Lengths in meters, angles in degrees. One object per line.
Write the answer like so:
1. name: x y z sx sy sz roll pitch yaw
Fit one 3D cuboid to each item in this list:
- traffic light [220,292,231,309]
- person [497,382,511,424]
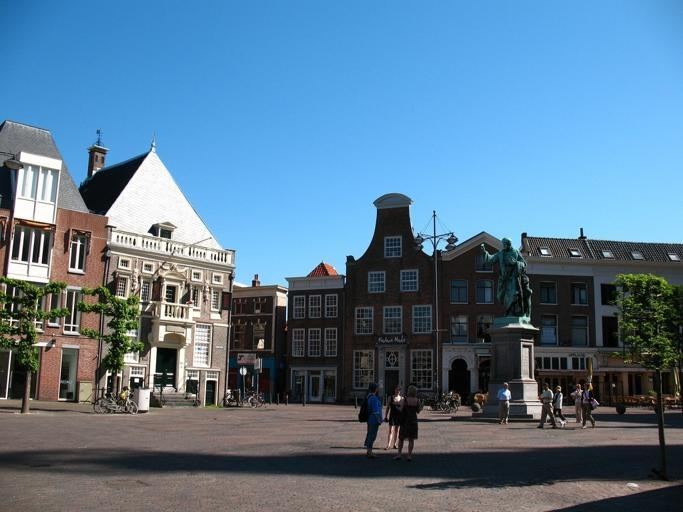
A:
1. traffic light: -8.506 3.190 48.506 1.159 1.517 0.153 7 -11 -38
2. person: 7.086 6.326 28.944 0.486 1.790 1.604 -3 -14 13
